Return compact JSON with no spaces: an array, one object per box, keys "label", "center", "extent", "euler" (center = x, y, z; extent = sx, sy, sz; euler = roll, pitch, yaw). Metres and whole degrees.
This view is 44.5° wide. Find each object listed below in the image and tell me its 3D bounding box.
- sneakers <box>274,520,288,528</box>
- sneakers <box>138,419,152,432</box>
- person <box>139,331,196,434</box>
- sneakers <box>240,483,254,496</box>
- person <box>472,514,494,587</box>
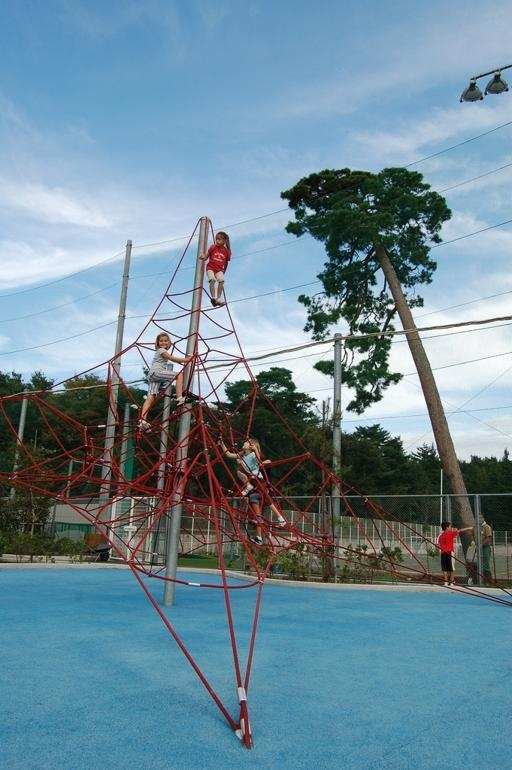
[{"label":"sneakers","center":[0.425,2.440,10.917],"extent":[0.148,0.173,0.414],"euler":[-6,-25,-7]},{"label":"sneakers","center":[-1.889,0.682,10.555],"extent":[0.182,0.088,0.241],"euler":[1,-40,4]},{"label":"person","center":[-1.591,-0.107,11.090],"extent":[1.001,1.840,0.599],"euler":[-13,-27,7]},{"label":"sneakers","center":[-0.160,1.925,11.454],"extent":[0.176,0.404,0.143],"euler":[18,29,21]},{"label":"person","center":[6.066,4.370,16.500],"extent":[0.351,1.756,0.848],"euler":[-3,-13,19]}]
